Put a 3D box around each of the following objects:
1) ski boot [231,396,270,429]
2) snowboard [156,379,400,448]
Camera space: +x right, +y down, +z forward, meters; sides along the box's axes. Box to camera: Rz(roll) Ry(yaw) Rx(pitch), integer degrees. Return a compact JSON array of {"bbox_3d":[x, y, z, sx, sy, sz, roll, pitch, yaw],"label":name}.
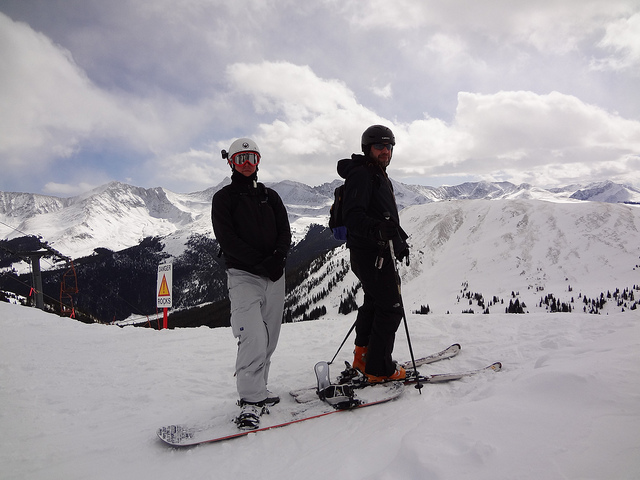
[{"bbox_3d":[-1.104,2.716,7.200,0.603,0.327,0.477,-4,5,-12],"label":"ski boot"},{"bbox_3d":[-0.590,2.804,7.303,2.593,0.147,0.548,-7,3,-19],"label":"snowboard"}]
